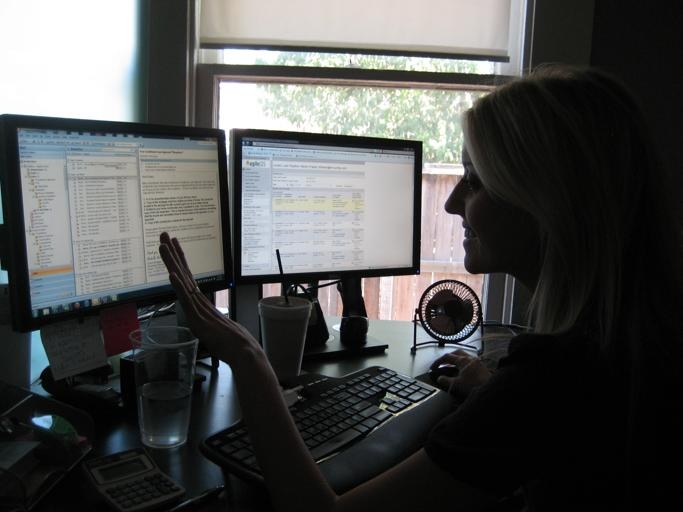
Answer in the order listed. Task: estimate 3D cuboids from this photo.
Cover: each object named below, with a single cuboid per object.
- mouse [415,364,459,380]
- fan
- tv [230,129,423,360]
[{"bbox_3d":[0.243,0.288,1.325,0.079,0.025,0.042,-13,-1,13],"label":"mouse"},{"bbox_3d":[0.326,0.178,1.633,0.207,0.236,0.134,5,10,9],"label":"fan"},{"bbox_3d":[-0.056,-0.055,1.592,0.594,0.582,0.199,-3,7,-26],"label":"tv"}]
